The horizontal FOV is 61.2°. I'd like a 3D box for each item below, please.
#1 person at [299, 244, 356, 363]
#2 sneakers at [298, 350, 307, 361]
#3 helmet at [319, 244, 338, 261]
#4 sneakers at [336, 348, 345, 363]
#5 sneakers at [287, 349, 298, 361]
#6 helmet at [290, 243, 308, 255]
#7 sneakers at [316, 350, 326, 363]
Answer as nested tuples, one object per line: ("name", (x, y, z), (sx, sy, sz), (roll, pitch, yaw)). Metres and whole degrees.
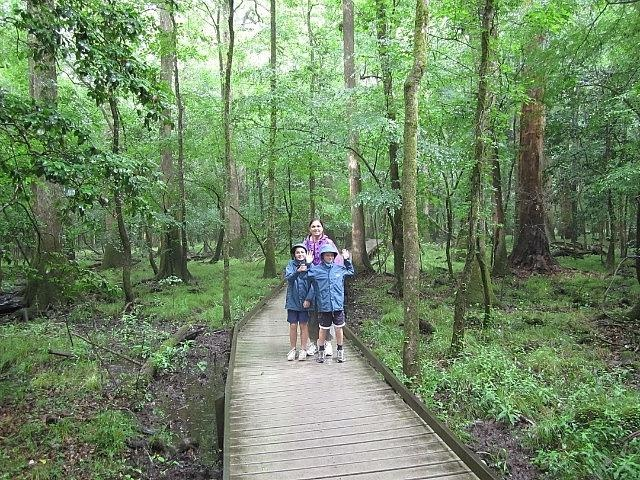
("person", (0.190, 1.155, 9.709), (0.777, 2.181, 0.392), (-3, 2, 2))
("sneakers", (-0.337, 2.121, 9.970), (0.139, 0.158, 0.346), (-1, -7, 4))
("helmet", (0.133, 0.216, 9.670), (0.257, 0.219, 0.388), (1, -1, -5))
("sneakers", (0.356, 2.122, 9.918), (0.186, 0.272, 0.599), (-2, -6, 3))
("sneakers", (-0.519, 2.129, 10.023), (0.126, 0.168, 0.373), (-1, -11, 3))
("helmet", (-0.390, 0.146, 9.688), (0.275, 0.202, 0.396), (-3, 1, -1))
("sneakers", (0.004, 2.133, 9.904), (0.130, 0.159, 0.351), (-1, -14, 2))
